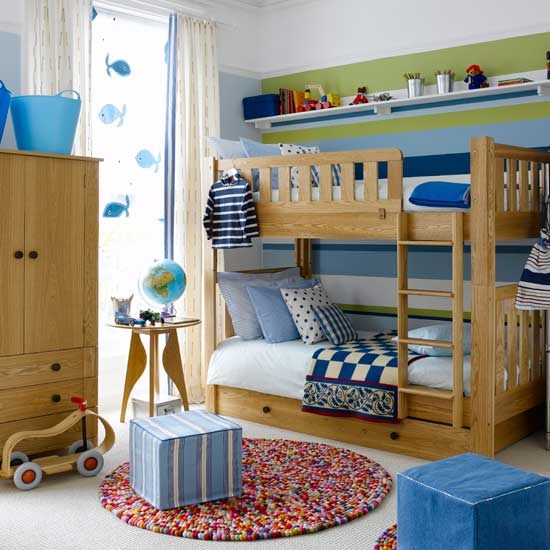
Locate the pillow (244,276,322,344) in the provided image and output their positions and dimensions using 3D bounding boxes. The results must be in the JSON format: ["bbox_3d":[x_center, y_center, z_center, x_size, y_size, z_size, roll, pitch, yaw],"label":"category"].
[{"bbox_3d":[0.026,0.227,3.841,0.497,0.365,0.129,-6,-23,-32],"label":"pillow"}]

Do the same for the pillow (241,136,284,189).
[{"bbox_3d":[-0.088,-0.778,3.996,0.117,0.345,0.402,-20,-13,39],"label":"pillow"}]

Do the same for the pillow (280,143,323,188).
[{"bbox_3d":[0.177,-0.782,4.014,0.121,0.328,0.406,-15,-13,42],"label":"pillow"}]

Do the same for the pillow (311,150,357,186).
[{"bbox_3d":[0.380,-0.711,3.806,0.370,0.287,0.093,-2,0,-8],"label":"pillow"}]

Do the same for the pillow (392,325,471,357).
[{"bbox_3d":[0.937,0.371,3.345,0.254,0.063,0.231,-5,5,-35],"label":"pillow"}]

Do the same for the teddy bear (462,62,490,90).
[{"bbox_3d":[1.366,-1.326,3.846,0.149,0.178,0.096,-2,4,-29],"label":"teddy bear"}]

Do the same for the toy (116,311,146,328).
[{"bbox_3d":[-0.951,0.287,3.740,0.171,0.043,0.102,4,5,13],"label":"toy"}]

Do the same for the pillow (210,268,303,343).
[{"bbox_3d":[-0.195,0.184,4.057,0.768,0.435,0.198,-5,-18,-44],"label":"pillow"}]

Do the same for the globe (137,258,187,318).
[{"bbox_3d":[-0.759,0.100,3.948,0.347,0.391,0.286,8,23,16],"label":"globe"}]

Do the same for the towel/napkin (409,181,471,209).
[{"bbox_3d":[0.875,-0.424,3.025,0.212,0.066,0.206,-2,13,34],"label":"towel/napkin"}]

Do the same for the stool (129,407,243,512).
[{"bbox_3d":[-0.431,0.801,2.634,0.434,0.262,0.406,-1,6,-32],"label":"stool"}]

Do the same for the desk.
[{"bbox_3d":[-0.821,0.658,4.002,0.706,0.651,0.668,-8,-17,26],"label":"desk"}]

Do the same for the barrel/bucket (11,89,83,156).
[{"bbox_3d":[-1.248,-0.827,3.215,0.457,0.335,0.370,0,2,2],"label":"barrel/bucket"}]

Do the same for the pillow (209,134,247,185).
[{"bbox_3d":[-0.372,-0.843,4.143,0.411,0.332,0.113,-6,-13,-36],"label":"pillow"}]
